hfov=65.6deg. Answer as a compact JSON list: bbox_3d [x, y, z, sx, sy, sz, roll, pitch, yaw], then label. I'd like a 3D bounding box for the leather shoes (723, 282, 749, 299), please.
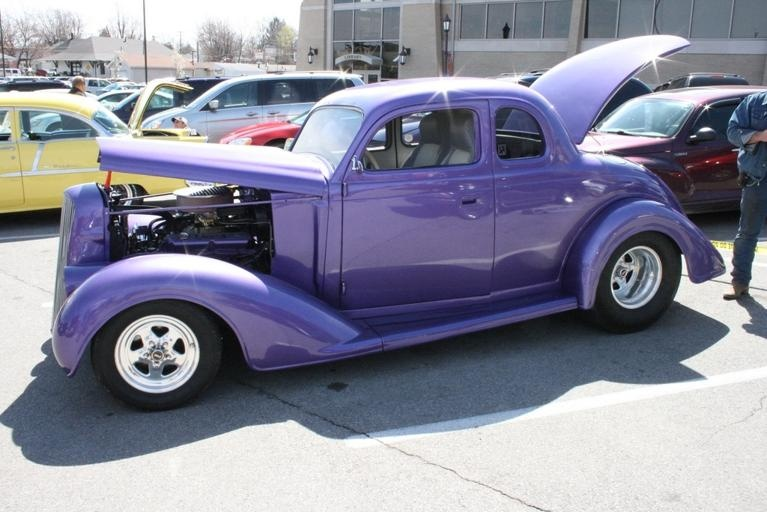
[{"bbox_3d":[4.148,0.400,6.928,0.396,0.170,0.139,-6,7,-26],"label":"leather shoes"}]

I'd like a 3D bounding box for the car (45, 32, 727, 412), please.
[{"bbox_3d":[0.094,-0.445,6.425,6.032,2.603,3.081,-5,10,-17],"label":"car"}]

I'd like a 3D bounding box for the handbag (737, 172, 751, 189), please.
[{"bbox_3d":[4.154,-0.857,6.810,0.121,0.233,0.179,3,7,9],"label":"handbag"}]

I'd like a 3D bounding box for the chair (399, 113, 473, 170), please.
[{"bbox_3d":[0.540,-1.107,5.827,0.648,0.535,0.756,-16,1,1],"label":"chair"}]
